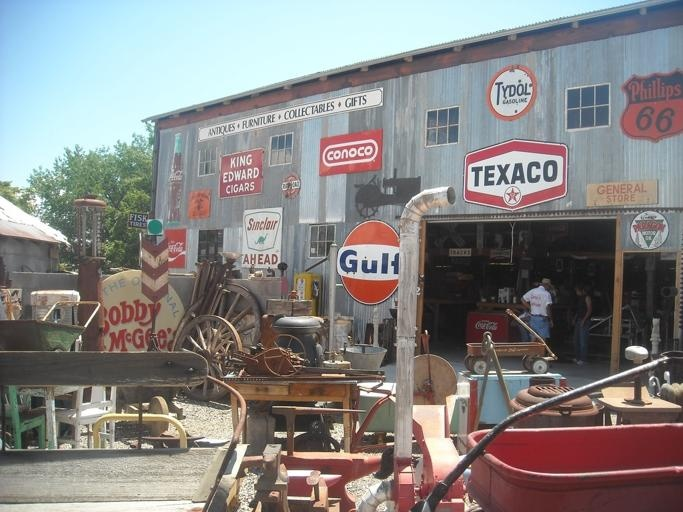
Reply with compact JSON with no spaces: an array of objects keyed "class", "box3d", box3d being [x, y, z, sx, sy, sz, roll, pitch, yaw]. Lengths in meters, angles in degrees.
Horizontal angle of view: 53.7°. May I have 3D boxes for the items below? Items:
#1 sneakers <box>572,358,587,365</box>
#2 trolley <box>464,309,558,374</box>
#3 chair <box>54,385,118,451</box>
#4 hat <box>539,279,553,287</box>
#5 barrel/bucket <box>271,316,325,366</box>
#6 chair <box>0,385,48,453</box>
[{"class":"sneakers","box3d":[5.629,2.480,15.877,0.334,0.166,0.140,0,3,-11]},{"class":"trolley","box3d":[2.717,1.333,10.575,1.325,1.031,0.657,0,-4,2]},{"class":"chair","box3d":[-3.367,2.109,8.945,0.720,0.836,1.199,1,-4,-23]},{"class":"hat","box3d":[5.236,0.690,17.236,0.326,0.105,0.340,4,5,42]},{"class":"barrel/bucket","box3d":[-0.594,1.136,9.501,0.643,0.658,0.634,1,1,0]},{"class":"chair","box3d":[-3.898,2.009,8.378,0.462,0.868,1.247,1,-4,-24]}]
